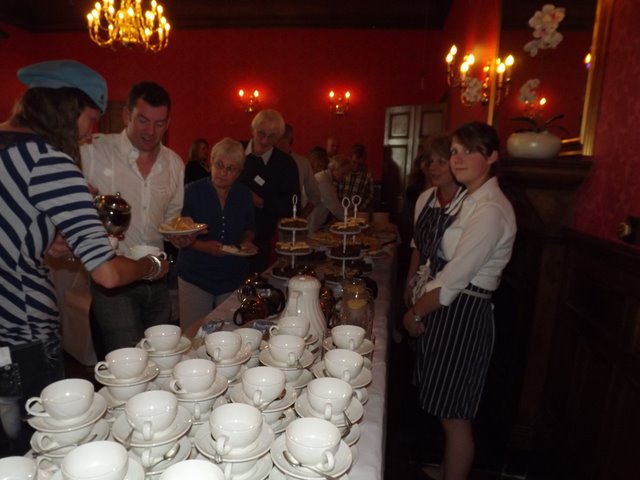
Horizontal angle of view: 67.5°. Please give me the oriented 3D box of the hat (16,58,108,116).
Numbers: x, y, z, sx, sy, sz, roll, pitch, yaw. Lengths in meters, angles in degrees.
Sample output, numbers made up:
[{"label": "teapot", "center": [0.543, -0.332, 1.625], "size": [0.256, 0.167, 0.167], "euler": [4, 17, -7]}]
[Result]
[{"label": "hat", "center": [-1.017, -0.644, 1.898], "size": [0.250, 0.111, 0.220], "euler": [15, 14, -8]}]

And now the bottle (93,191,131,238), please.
[{"label": "bottle", "center": [-0.982, -0.120, 2.383], "size": [0.200, 0.242, 0.180], "euler": [5, 20, -9]}]

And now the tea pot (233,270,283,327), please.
[{"label": "tea pot", "center": [-0.302, 0.301, 2.358], "size": [0.236, 0.254, 0.160], "euler": [2, 4, -8]}]

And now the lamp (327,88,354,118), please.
[{"label": "lamp", "center": [0.386, -2.555, 8.840], "size": [0.514, 0.613, 0.161], "euler": [0, 6, 6]}]

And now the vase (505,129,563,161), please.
[{"label": "vase", "center": [1.196, -0.520, 2.700], "size": [0.194, 0.098, 0.198], "euler": [1, 8, 1]}]

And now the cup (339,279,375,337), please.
[{"label": "cup", "center": [0.164, 0.321, 2.225], "size": [0.158, 0.235, 0.218], "euler": [1, 3, 1]}]
